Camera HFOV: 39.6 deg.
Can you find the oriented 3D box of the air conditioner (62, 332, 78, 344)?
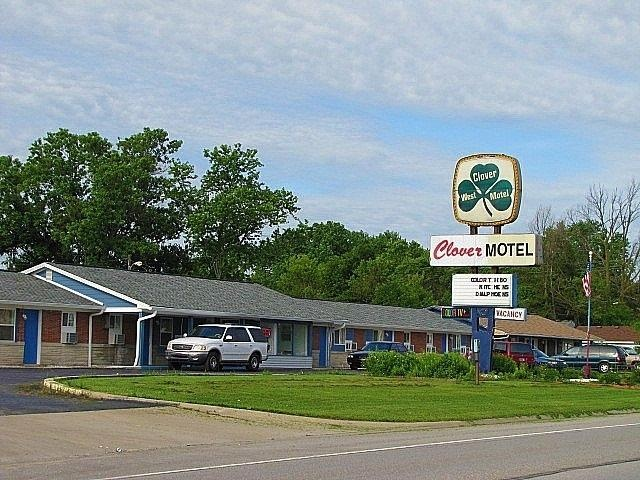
[{"bbox_3d":[-11.966,4.759,42.815,0.899,0.620,0.465,3,-8,-24],"label":"air conditioner"}]

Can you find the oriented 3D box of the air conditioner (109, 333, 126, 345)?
[{"bbox_3d":[-10.158,5.066,44.788,0.472,0.606,0.888,-4,-8,30],"label":"air conditioner"}]

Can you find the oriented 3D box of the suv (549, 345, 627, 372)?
[{"bbox_3d":[16.987,7.778,56.528,4.423,1.471,2.200,1,-4,25],"label":"suv"}]

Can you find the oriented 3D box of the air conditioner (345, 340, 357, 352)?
[{"bbox_3d":[2.003,6.815,57.110,0.611,0.788,0.897,-7,-11,42],"label":"air conditioner"}]
